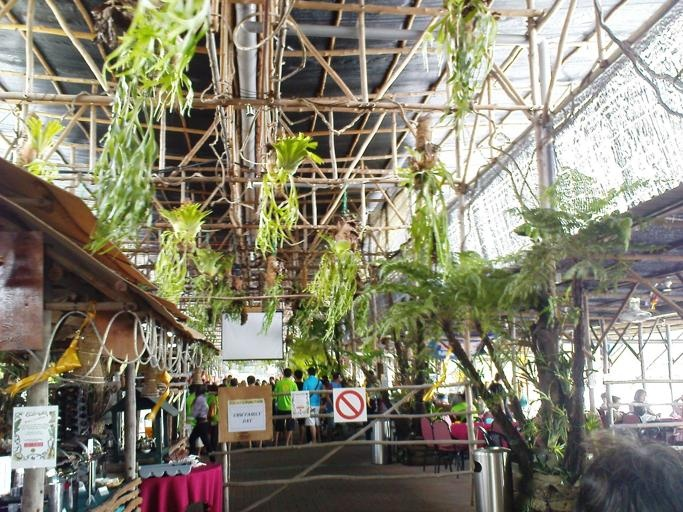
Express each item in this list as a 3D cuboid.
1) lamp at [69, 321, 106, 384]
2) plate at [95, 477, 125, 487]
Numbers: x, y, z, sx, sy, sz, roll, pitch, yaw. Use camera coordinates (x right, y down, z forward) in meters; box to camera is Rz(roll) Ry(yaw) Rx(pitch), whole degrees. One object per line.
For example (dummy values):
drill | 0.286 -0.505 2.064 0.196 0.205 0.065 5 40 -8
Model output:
lamp | -2.139 0.838 6.432 0.242 0.469 1.138 2 -19 -18
plate | -2.209 2.140 7.226 0.138 0.048 0.109 20 -13 -4
